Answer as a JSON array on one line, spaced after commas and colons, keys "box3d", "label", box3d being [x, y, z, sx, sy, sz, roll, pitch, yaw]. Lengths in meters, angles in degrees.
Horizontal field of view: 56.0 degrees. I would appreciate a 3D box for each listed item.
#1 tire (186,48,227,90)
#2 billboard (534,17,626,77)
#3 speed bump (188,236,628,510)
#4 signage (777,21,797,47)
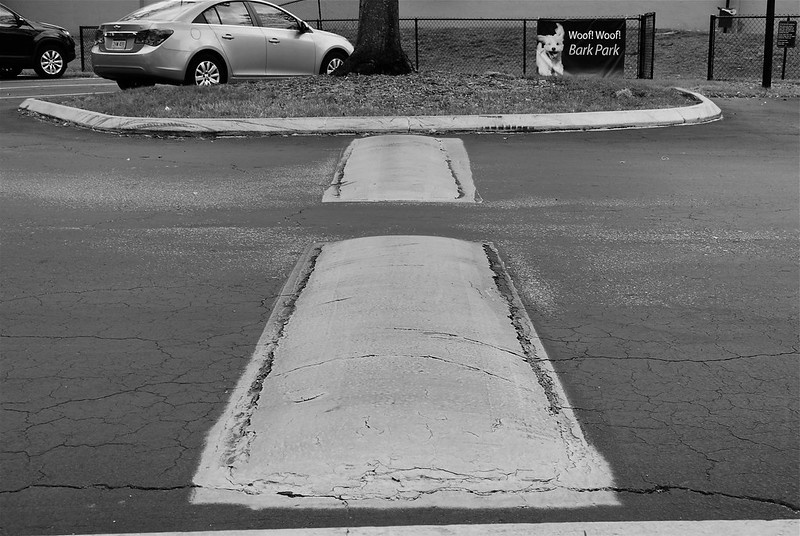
[{"box3d": [-4.185, -4.373, 16.308, 0.294, 0.701, 0.957, 15, 23, 35], "label": "tire"}, {"box3d": [5.434, -6.810, 23.045, 3.933, 1.777, 0.065, -11, 32, -28], "label": "billboard"}, {"box3d": [0.050, 0.410, 4.718, 2.013, 0.203, 2.700, -1, 26, -2], "label": "speed bump"}, {"box3d": [10.694, -6.518, 20.776, 0.479, 0.734, 0.846, 7, 19, 21], "label": "signage"}]
